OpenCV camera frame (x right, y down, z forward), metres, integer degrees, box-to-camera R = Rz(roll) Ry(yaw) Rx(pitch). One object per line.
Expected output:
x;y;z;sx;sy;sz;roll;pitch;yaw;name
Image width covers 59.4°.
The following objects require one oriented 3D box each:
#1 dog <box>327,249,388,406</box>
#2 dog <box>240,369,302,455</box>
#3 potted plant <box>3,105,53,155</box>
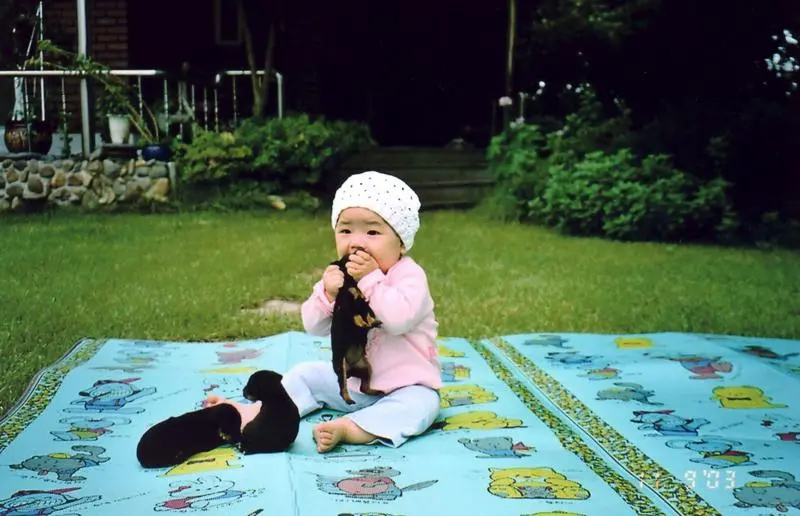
-0.213;0.357;3.371;0.236;0.712;0.143;-1;11;-4;dog
-0.599;0.725;3.429;0.326;0.465;0.309;3;2;7;dog
-2.692;-0.911;5.112;0.314;0.348;0.304;0;-3;-4;potted plant
